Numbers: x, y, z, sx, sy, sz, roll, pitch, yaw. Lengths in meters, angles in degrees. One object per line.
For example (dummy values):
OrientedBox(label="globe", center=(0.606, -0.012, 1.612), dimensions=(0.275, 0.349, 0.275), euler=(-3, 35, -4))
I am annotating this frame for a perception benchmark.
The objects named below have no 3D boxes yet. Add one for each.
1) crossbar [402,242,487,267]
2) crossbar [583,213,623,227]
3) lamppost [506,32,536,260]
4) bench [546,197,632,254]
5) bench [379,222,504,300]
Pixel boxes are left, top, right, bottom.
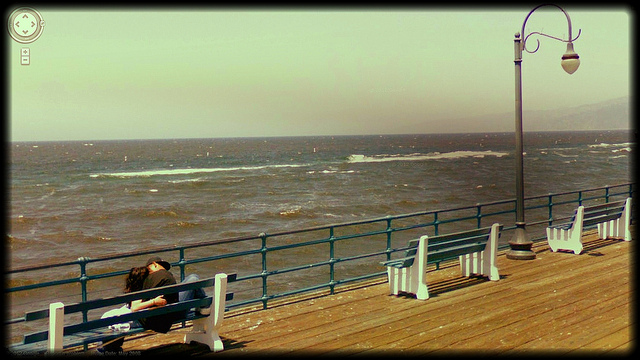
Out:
OrientedBox(label="crossbar", center=(3.143, 1.839, 14.257), dimensions=(2.510, 0.331, 0.230), euler=(-5, 8, -24))
OrientedBox(label="crossbar", center=(8.340, 1.147, 17.149), dimensions=(1.637, 0.181, 0.220), euler=(-4, -13, -35))
OrientedBox(label="lamppost", center=(5.490, -0.902, 15.937), dimensions=(0.686, 6.186, 0.980), euler=(0, 10, 29))
OrientedBox(label="bench", center=(8.017, 1.304, 17.097), dimensions=(2.935, 1.313, 0.751), euler=(-7, 8, -30))
OrientedBox(label="bench", center=(3.255, 2.044, 14.434), dimensions=(2.450, 1.876, 4.101), euler=(1, 1, 45))
